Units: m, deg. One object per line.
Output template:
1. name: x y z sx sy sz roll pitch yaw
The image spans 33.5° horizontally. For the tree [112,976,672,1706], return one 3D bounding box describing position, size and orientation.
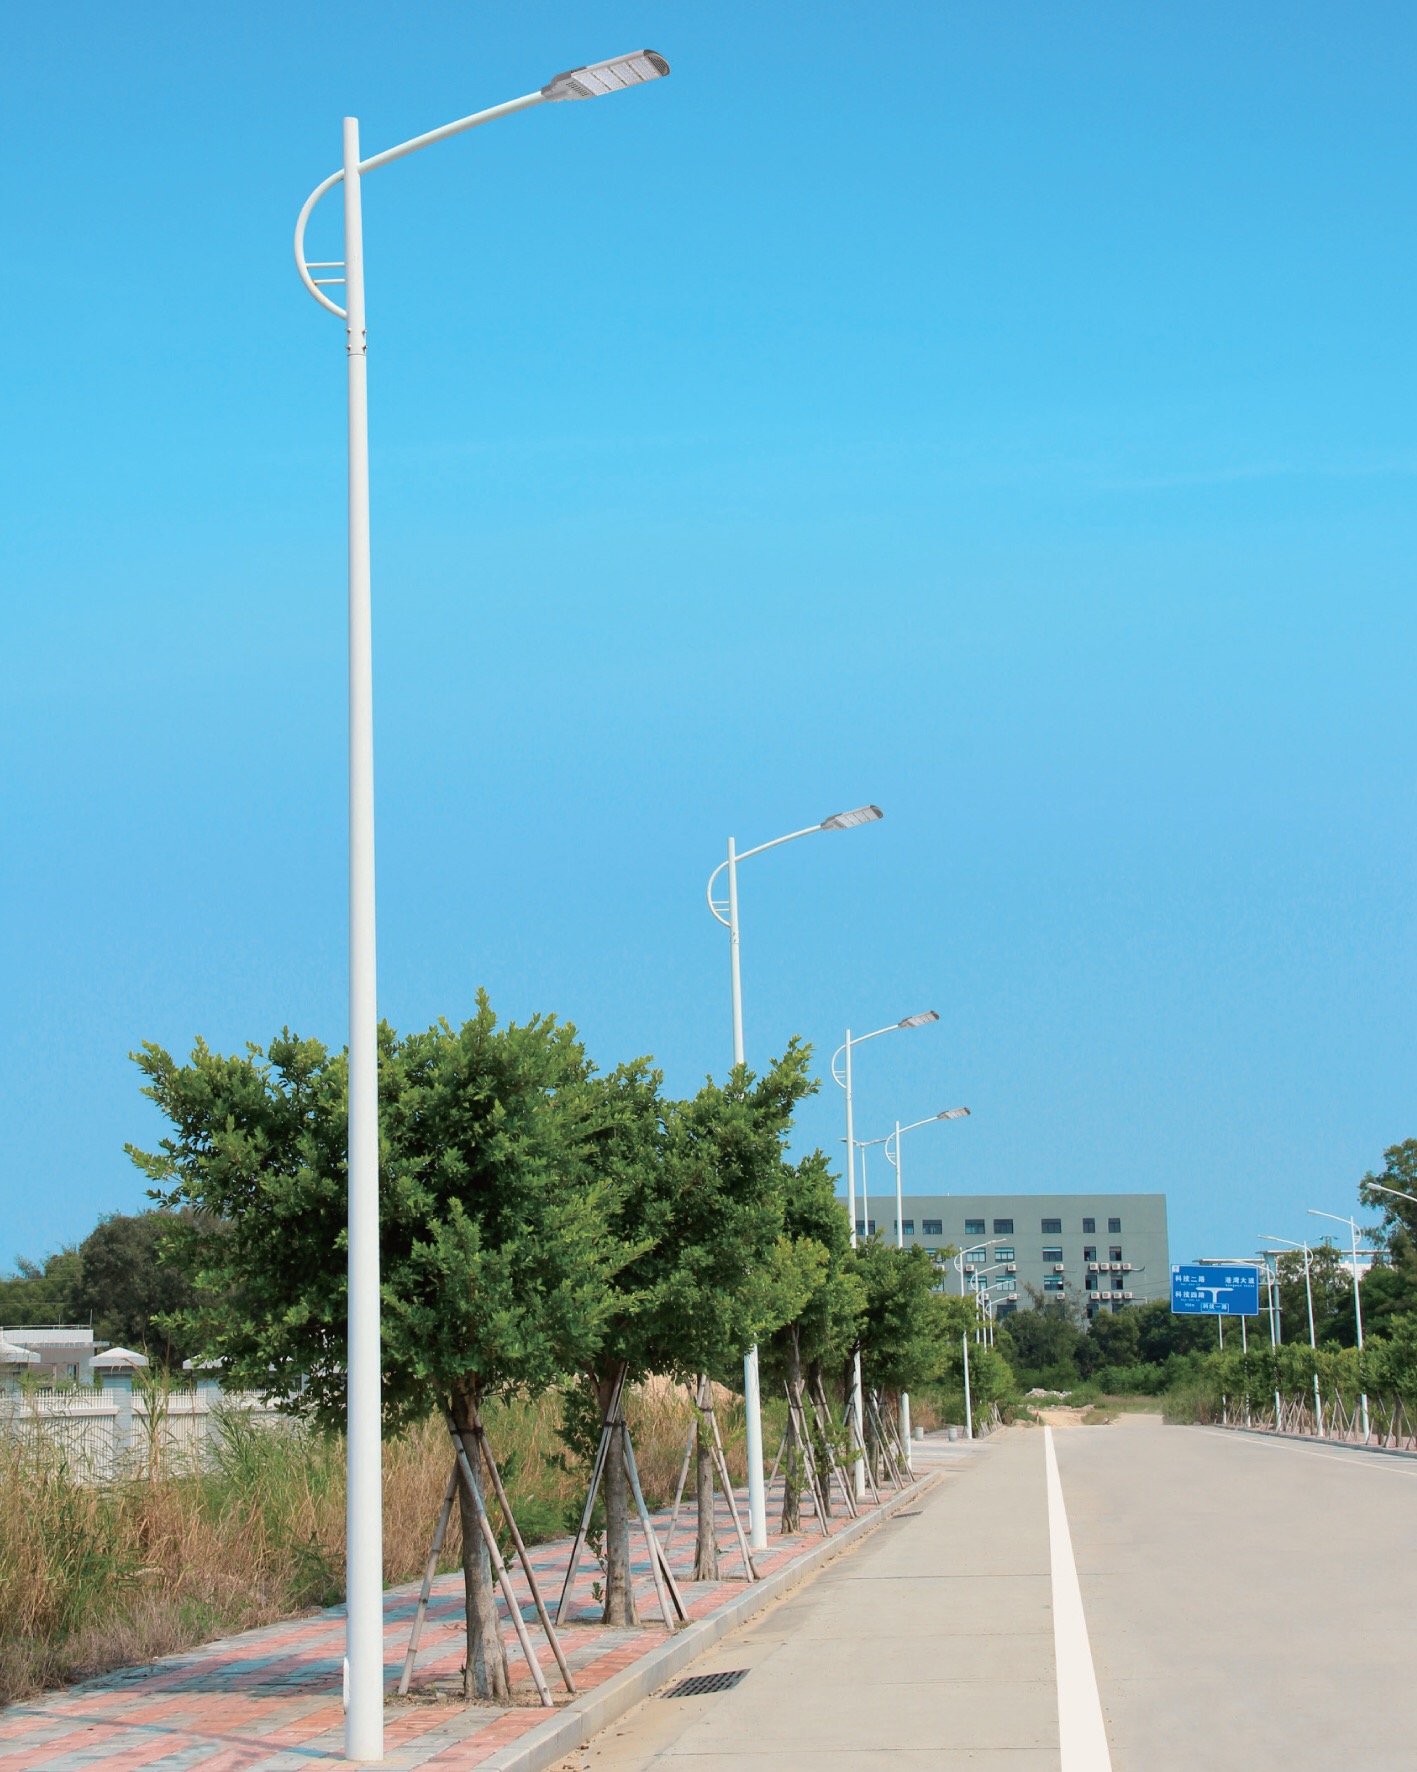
1. tree: -1.912 2.002 14.487 3.100 5.313 4.117 -3 -4 14
